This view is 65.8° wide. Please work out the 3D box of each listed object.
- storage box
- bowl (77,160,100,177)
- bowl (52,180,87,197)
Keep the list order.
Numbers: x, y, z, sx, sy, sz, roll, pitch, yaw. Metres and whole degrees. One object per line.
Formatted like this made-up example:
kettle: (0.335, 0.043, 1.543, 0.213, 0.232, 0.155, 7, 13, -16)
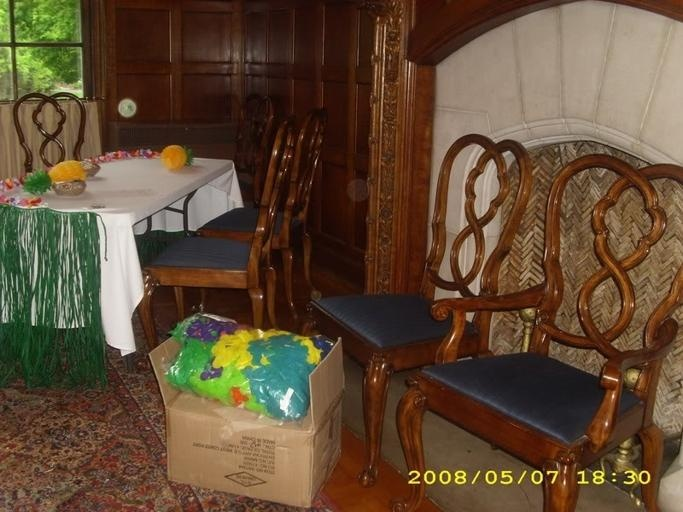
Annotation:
storage box: (-0.303, 0.542, 2.040, 0.710, 0.664, 0.431, 11, 28, 14)
bowl: (-1.517, -0.528, 3.163, 0.147, 0.088, 0.156, 4, 8, -1)
bowl: (-1.400, -0.350, 2.692, 0.155, 0.084, 0.102, -2, 13, -22)
